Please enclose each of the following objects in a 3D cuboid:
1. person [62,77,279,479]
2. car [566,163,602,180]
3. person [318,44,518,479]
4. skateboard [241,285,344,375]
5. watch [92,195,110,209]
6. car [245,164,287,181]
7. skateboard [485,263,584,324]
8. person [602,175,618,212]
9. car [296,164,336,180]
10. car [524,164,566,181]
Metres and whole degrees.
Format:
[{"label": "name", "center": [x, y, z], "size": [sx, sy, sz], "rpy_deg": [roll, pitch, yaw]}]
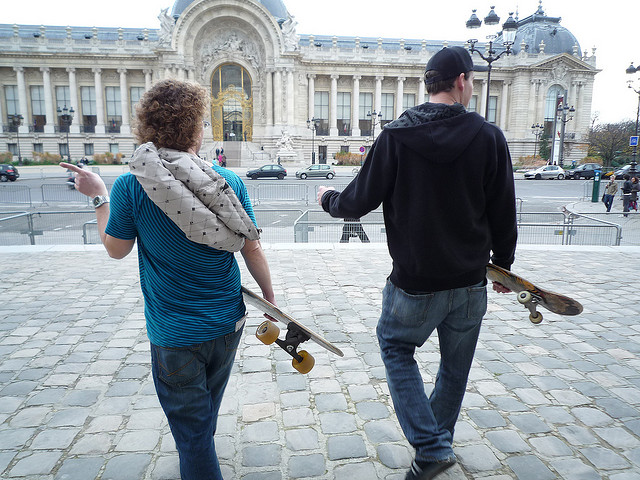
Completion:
[{"label": "person", "center": [-0.896, 0.294, 3.670], "size": [1.070, 2.765, 0.518], "rpy_deg": [-1, 12, -6]}, {"label": "car", "center": [22.586, -5.946, 45.779], "size": [2.658, 1.114, 1.399], "rpy_deg": [3, 6, 7]}, {"label": "person", "center": [0.812, 0.184, 4.095], "size": [0.968, 3.232, 0.995], "rpy_deg": [-11, 16, -41]}, {"label": "skateboard", "center": [-0.236, 0.665, 3.841], "size": [0.984, 0.252, 0.389], "rpy_deg": [38, -15, -21]}, {"label": "watch", "center": [-1.541, -0.291, 3.763], "size": [0.124, 0.074, 0.116], "rpy_deg": [-9, -22, -4]}, {"label": "car", "center": [-3.992, -5.212, 40.314], "size": [2.794, 0.916, 1.452], "rpy_deg": [2, 7, -7]}, {"label": "skateboard", "center": [2.448, 0.628, 6.101], "size": [1.419, 0.322, 0.228], "rpy_deg": [25, 43, 16]}, {"label": "person", "center": [12.037, -2.026, 22.190], "size": [0.433, 1.511, 2.518], "rpy_deg": [6, 13, 28]}, {"label": "car", "center": [-0.337, -5.320, 41.405], "size": [2.786, 0.987, 1.521], "rpy_deg": [3, 8, -3]}, {"label": "car", "center": [19.055, -5.755, 45.081], "size": [2.520, 1.033, 1.348], "rpy_deg": [3, 5, 8]}]
